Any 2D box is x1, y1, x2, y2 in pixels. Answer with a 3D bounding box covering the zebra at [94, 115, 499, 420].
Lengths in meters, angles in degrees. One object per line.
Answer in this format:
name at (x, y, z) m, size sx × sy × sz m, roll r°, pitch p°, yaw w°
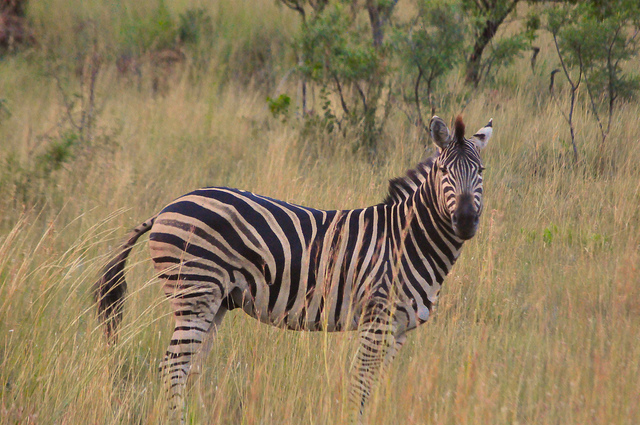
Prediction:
zebra at (-0.243, 1.442, 14.862) m, size 6.536 × 6.899 × 2.896 m, roll 0°, pitch -6°, yaw -1°
